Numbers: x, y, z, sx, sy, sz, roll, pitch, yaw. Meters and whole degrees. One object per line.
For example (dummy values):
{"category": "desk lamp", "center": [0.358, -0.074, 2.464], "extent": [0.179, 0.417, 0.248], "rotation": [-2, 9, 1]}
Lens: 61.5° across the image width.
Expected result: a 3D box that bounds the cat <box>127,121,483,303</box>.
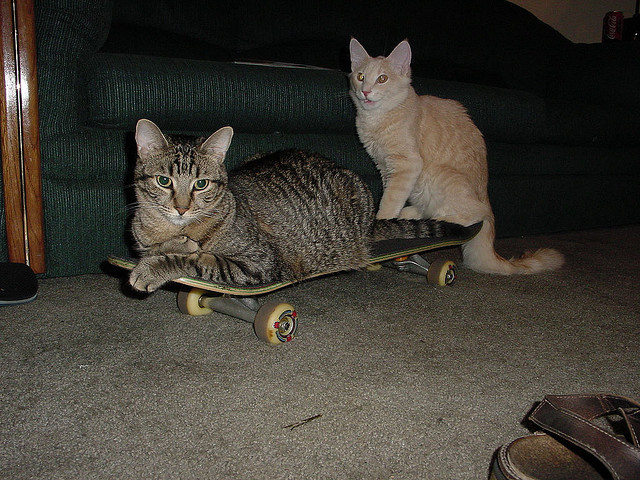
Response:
{"category": "cat", "center": [-0.081, -0.186, 2.208], "extent": [1.583, 0.584, 0.498], "rotation": [-8, 19, -39]}
